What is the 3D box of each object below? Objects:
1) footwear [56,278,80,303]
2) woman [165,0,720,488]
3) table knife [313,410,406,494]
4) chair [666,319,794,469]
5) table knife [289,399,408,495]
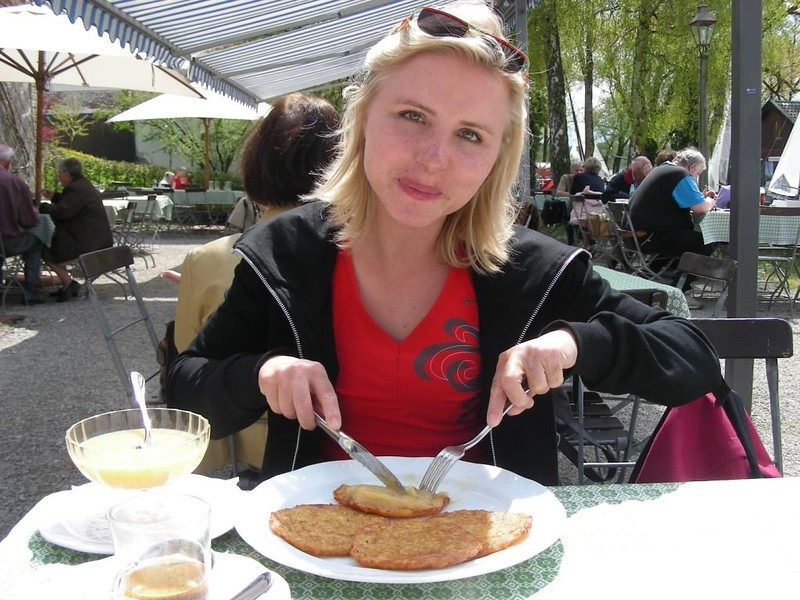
[{"bbox_3d":[-4.492,-0.129,9.063,0.303,0.234,0.555,-6,12,-28],"label":"footwear"},{"bbox_3d":[0.075,-0.155,1.949,1.518,1.449,0.745,1,10,2],"label":"woman"},{"bbox_3d":[-0.096,0.405,1.788,0.041,0.278,0.030,-40,0,16],"label":"table knife"},{"bbox_3d":[1.253,0.304,2.543,0.454,0.668,0.474,1,8,8],"label":"chair"},{"bbox_3d":[-0.129,0.394,1.800,0.045,0.325,0.039,-41,0,17],"label":"table knife"}]
